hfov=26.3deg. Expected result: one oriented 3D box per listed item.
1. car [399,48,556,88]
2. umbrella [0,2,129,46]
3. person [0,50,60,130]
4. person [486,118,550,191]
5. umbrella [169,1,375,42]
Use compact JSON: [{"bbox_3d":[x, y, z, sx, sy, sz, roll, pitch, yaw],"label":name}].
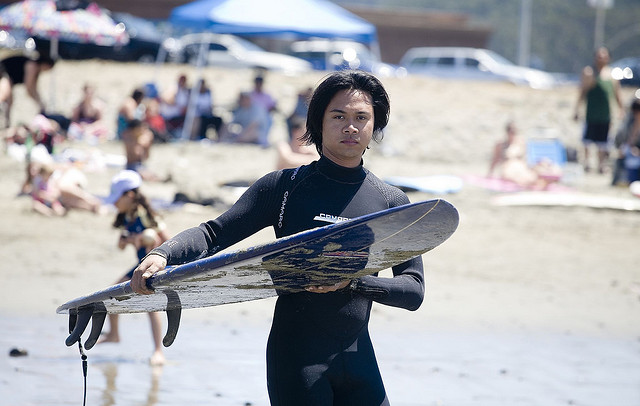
[{"bbox_3d":[4.609,-4.116,41.273,4.516,1.214,1.943,1,6,30],"label":"car"},{"bbox_3d":[-5.923,-4.200,31.553,2.755,0.883,0.929,2,6,-35],"label":"umbrella"},{"bbox_3d":[-6.663,-2.552,31.237,1.008,0.673,2.667,31,-31,-17],"label":"person"},{"bbox_3d":[4.265,-0.900,29.319,1.205,1.524,0.602,-20,-37,29],"label":"person"},{"bbox_3d":[-1.243,-4.198,31.927,3.411,1.066,2.804,1,7,-5],"label":"umbrella"}]
